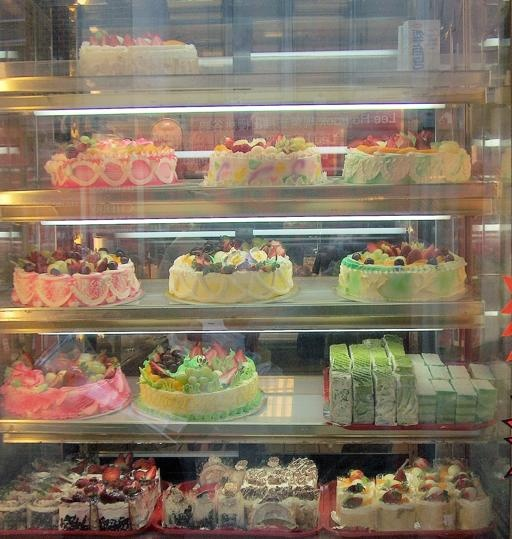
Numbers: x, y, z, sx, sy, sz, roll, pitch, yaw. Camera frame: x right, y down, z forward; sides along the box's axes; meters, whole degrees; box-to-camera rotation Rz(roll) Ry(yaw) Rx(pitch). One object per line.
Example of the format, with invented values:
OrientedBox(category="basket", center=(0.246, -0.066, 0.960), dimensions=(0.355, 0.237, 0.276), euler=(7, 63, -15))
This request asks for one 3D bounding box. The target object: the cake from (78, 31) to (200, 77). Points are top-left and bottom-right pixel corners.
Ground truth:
OrientedBox(category="cake", center=(-0.398, -0.697, 2.188), dimensions=(0.331, 0.099, 0.177), euler=(1, 15, -2))

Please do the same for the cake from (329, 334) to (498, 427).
OrientedBox(category="cake", center=(0.510, 0.389, 2.285), dimensions=(0.407, 0.116, 0.302), euler=(-2, 16, 2))

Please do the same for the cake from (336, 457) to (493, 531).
OrientedBox(category="cake", center=(0.551, 0.797, 2.314), dimensions=(0.357, 0.101, 0.255), euler=(-1, 3, 2))
